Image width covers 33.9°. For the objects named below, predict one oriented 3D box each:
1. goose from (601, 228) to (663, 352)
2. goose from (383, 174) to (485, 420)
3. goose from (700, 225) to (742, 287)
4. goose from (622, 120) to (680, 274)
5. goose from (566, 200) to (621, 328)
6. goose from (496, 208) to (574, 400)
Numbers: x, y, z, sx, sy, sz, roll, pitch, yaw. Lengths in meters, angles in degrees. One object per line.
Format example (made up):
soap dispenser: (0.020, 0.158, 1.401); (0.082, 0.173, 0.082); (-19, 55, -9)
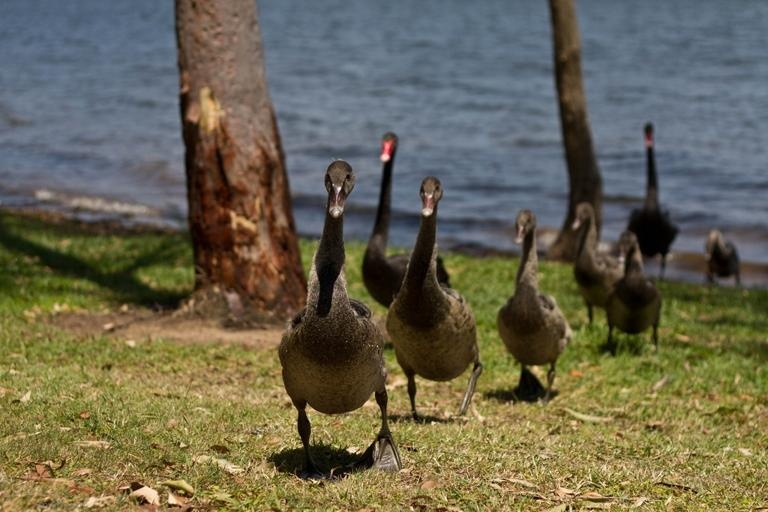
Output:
goose: (3.899, 0.547, 19.628); (0.866, 1.846, 0.410); (4, 18, 17)
goose: (0.648, 0.594, 18.562); (1.494, 3.638, 2.336); (2, 13, 15)
goose: (5.328, 0.026, 19.679); (0.541, 0.790, 0.312); (3, 17, 13)
goose: (4.409, -0.853, 20.636); (0.868, 2.329, 1.697); (2, -3, 13)
goose: (3.588, 0.239, 20.881); (0.832, 2.099, 2.084); (4, 4, 33)
goose: (2.267, 0.697, 19.355); (1.331, 2.935, 2.238); (-2, 10, 11)
